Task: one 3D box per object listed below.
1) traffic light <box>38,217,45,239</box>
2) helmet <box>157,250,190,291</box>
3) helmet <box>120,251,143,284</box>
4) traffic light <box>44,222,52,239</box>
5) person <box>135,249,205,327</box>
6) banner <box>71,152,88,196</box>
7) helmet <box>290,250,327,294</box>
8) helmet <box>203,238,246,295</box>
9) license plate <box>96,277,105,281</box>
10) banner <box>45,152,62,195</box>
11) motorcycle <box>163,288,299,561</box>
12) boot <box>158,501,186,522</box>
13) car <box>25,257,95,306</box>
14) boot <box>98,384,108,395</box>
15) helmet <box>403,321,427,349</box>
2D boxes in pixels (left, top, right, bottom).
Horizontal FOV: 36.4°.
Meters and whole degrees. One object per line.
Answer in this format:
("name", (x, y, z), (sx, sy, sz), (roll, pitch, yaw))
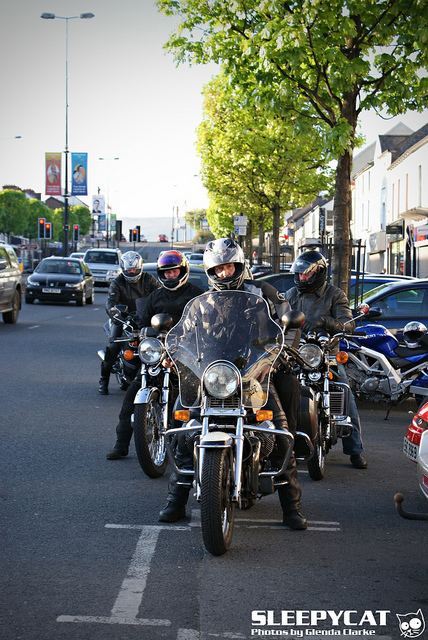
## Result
("traffic light", (-12.479, -6.596, 47.348), (0.386, 1.319, 0.810), (-3, 5, -16))
("helmet", (-0.361, -0.432, 5.769), (0.260, 0.357, 0.356), (-1, 5, -3))
("helmet", (-1.098, -0.711, 8.236), (0.284, 0.371, 0.372), (0, 42, 2))
("traffic light", (-12.269, -6.515, 48.092), (0.415, 1.071, 1.388), (-2, 5, -9))
("person", (-0.376, -0.212, 5.790), (0.572, 0.756, 0.431), (-4, -1, 6))
("banner", (-12.681, -13.630, 61.266), (1.464, 4.155, 2.449), (-2, 5, -14))
("helmet", (0.902, -0.446, 6.227), (0.313, 0.411, 0.288), (0, 5, 6))
("helmet", (0.076, -0.339, 4.067), (0.256, 0.323, 0.381), (-10, 8, 4))
("license plate", (-6.456, -2.293, 37.137), (0.447, 0.186, 0.239), (-2, 5, -16))
("banner", (-15.524, -14.122, 63.209), (1.464, 4.219, 2.428), (-2, 5, -13))
("motorcycle", (0.131, 0.546, 4.110), (0.700, 1.384, 1.959), (-2, 5, 9))
("boot", (-0.268, 1.238, 4.193), (0.079, 0.100, 0.235), (-2, -10, 18))
("car", (-6.468, -1.721, 29.315), (1.768, 1.313, 2.944), (0, -2, 5))
("boot", (-1.656, 1.051, 9.779), (0.124, 0.141, 0.338), (0, -7, -4))
("helmet", (2.633, 0.202, 8.534), (0.262, 0.322, 0.332), (-3, -9, 18))
